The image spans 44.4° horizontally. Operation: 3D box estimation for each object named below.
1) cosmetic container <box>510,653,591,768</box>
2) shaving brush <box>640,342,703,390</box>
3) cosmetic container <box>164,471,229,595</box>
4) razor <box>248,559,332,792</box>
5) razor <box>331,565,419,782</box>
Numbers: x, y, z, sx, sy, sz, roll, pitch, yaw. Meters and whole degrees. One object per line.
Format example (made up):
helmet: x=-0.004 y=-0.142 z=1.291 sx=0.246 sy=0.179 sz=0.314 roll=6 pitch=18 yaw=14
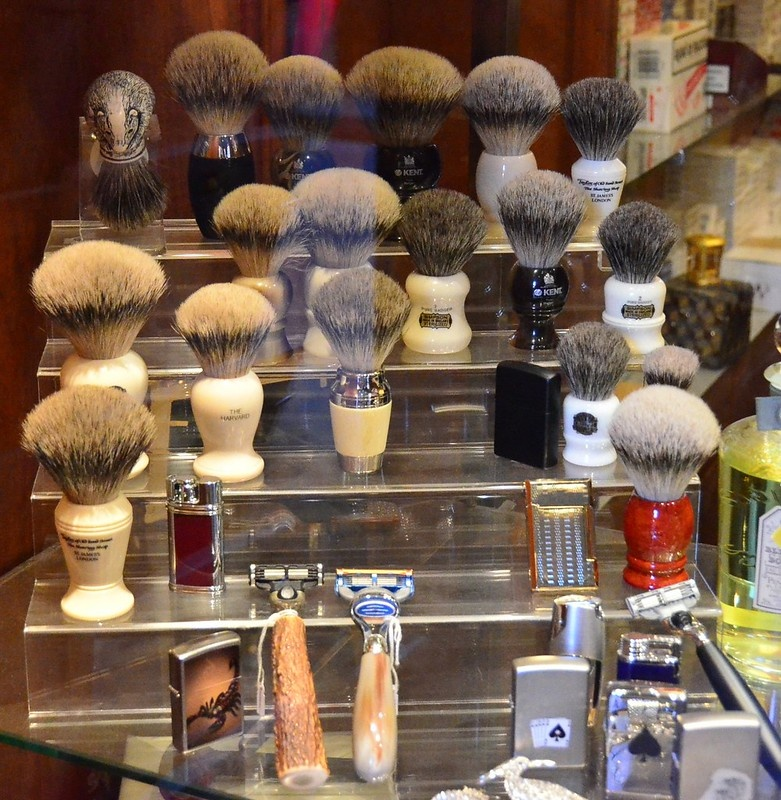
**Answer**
cosmetic container: x=0.142 y=0.279 z=0.850 sx=0.070 sy=0.111 sz=0.020 roll=0 pitch=20 yaw=1
shaving brush: x=0.331 y=-0.055 z=1.123 sx=0.051 sy=0.066 sz=0.051 roll=-16 pitch=22 yaw=-41
cosmetic container: x=-0.199 y=0.141 z=0.974 sx=0.068 sy=0.178 sz=0.042 roll=6 pitch=24 yaw=10
razor: x=-0.097 y=0.252 z=0.895 sx=0.076 sy=0.100 sz=0.242 roll=-3 pitch=26 yaw=-5
razor: x=-0.015 y=0.255 z=0.880 sx=0.074 sy=0.060 sz=0.274 roll=-1 pitch=25 yaw=-1
